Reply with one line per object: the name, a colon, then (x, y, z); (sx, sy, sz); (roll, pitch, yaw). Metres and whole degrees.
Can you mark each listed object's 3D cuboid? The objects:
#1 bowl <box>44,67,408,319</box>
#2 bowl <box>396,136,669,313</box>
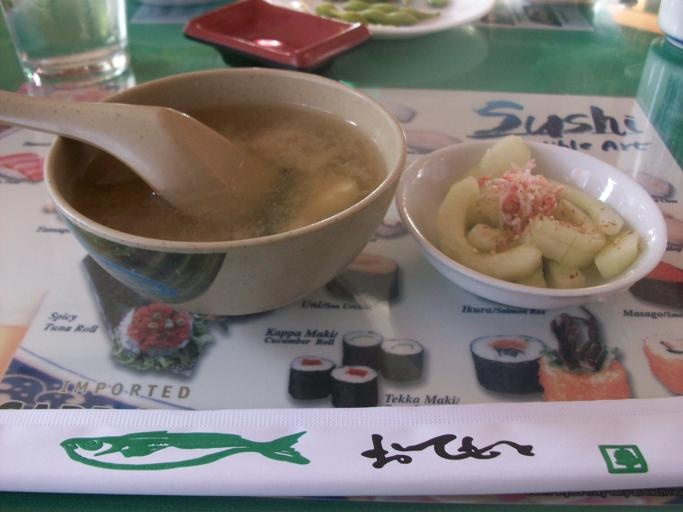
bowl: (-0.136, -0.093, 0.772); (0.414, 0.163, 0.371); (-30, 55, -21)
bowl: (0.253, -0.066, 0.841); (0.296, 0.106, 0.291); (0, 43, 0)
